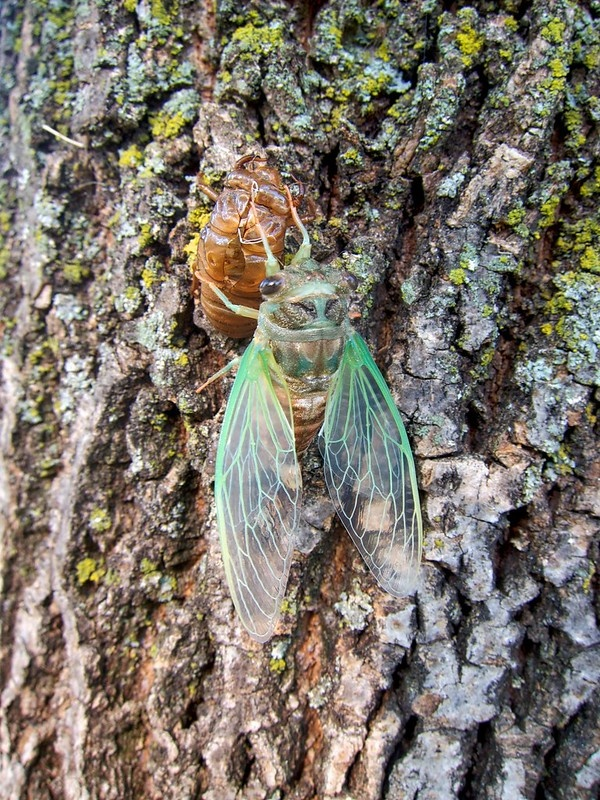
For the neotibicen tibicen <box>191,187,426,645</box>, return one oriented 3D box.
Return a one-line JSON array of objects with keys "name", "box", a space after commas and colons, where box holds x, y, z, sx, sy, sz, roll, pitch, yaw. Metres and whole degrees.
[{"name": "neotibicen tibicen", "box": [0.012, 0.010, 1.699, 0.440, 0.302, 0.966, 0, 73, -13]}]
